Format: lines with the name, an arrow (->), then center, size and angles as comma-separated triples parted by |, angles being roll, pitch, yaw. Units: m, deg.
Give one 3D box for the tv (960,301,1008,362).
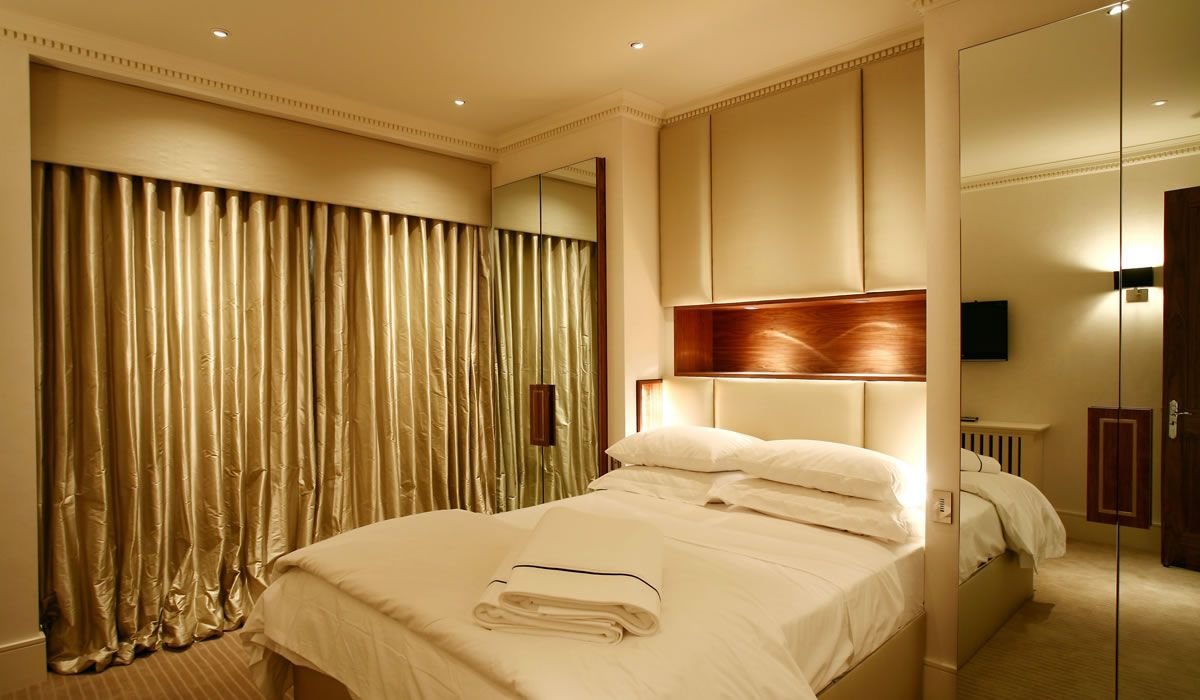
tv -> 2.244, -0.106, 4.847 | 0.345, 0.391, 0.040 | -1, -2, 43
